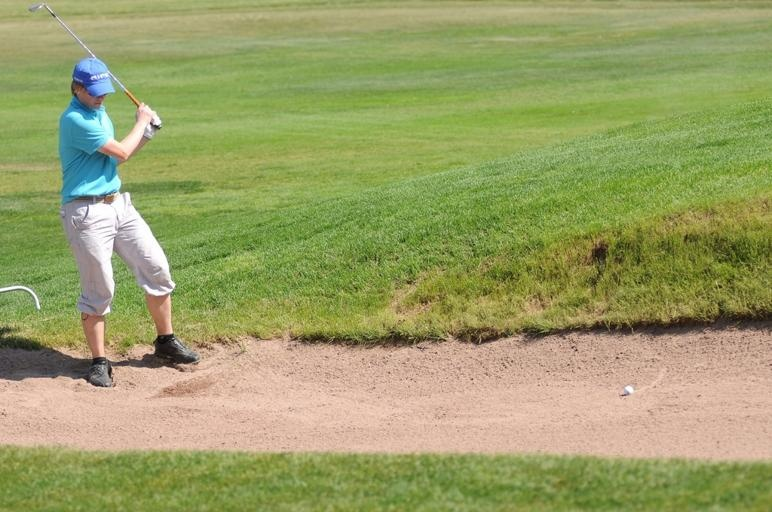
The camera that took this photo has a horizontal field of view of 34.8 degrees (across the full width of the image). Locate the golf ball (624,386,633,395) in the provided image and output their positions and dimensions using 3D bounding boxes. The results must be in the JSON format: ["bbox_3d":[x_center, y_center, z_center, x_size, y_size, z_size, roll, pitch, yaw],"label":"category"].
[{"bbox_3d":[4.084,2.252,20.733,0.187,0.122,0.148,-7,13,-6],"label":"golf ball"}]

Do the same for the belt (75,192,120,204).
[{"bbox_3d":[-4.856,-0.957,20.772,0.702,0.181,0.103,-8,14,-17],"label":"belt"}]
